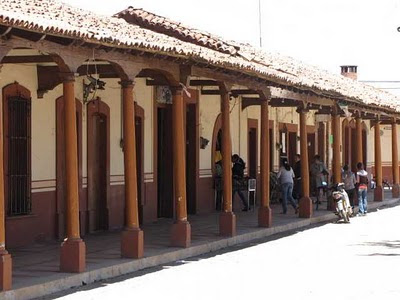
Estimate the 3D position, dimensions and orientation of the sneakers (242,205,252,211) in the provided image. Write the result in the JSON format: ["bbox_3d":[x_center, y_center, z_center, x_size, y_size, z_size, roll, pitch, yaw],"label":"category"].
[{"bbox_3d":[1.562,1.977,21.121,0.328,0.272,0.150,3,3,14],"label":"sneakers"}]

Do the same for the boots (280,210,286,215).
[{"bbox_3d":[2.727,2.040,20.290,0.179,0.196,0.098,12,8,40],"label":"boots"}]

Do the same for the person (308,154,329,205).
[{"bbox_3d":[4.329,1.074,22.912,0.830,1.829,0.864,1,4,38],"label":"person"}]

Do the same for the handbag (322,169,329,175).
[{"bbox_3d":[4.558,0.823,22.651,0.250,0.163,0.271,-4,21,8],"label":"handbag"}]

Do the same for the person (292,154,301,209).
[{"bbox_3d":[3.541,1.027,23.029,0.450,1.774,0.440,1,11,11],"label":"person"}]
